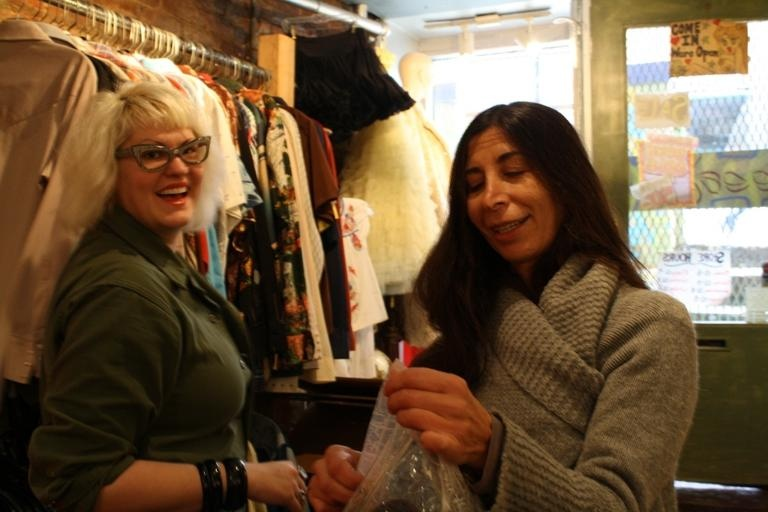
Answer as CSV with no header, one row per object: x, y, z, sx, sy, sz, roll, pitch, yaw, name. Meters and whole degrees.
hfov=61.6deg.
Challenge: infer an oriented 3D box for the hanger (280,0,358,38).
-0.375,-1.274,3.513,0.359,0.098,0.401,15,16,39,hanger
